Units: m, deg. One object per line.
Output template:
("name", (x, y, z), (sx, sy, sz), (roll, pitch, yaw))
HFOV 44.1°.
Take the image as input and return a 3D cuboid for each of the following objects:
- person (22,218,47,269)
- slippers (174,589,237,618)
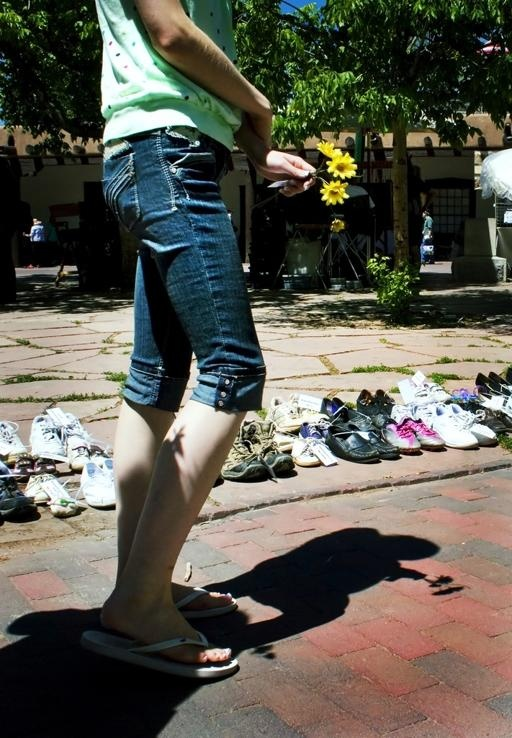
("person", (-8.099, -4.666, 23.308), (0.790, 1.824, 1.003), (-3, 6, -18))
("slippers", (-0.116, 0.549, 1.512), (0.146, 0.051, 0.054), (0, 3, -23))
